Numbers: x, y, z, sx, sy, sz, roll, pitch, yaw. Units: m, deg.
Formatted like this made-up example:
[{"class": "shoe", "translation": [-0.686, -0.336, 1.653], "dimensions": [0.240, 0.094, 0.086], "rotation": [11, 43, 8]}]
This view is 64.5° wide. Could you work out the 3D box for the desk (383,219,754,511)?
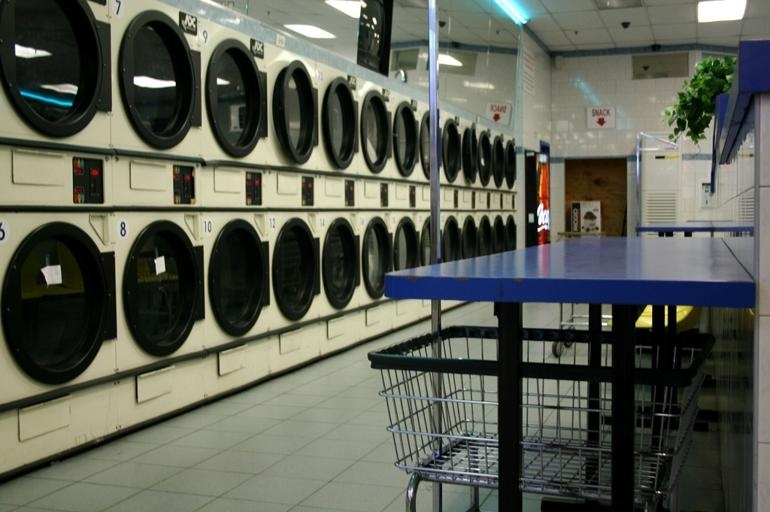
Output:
[{"class": "desk", "translation": [0.654, 0.342, 1.971], "dimensions": [0.903, 0.705, 1.123], "rotation": [4, 9, 32]}]
